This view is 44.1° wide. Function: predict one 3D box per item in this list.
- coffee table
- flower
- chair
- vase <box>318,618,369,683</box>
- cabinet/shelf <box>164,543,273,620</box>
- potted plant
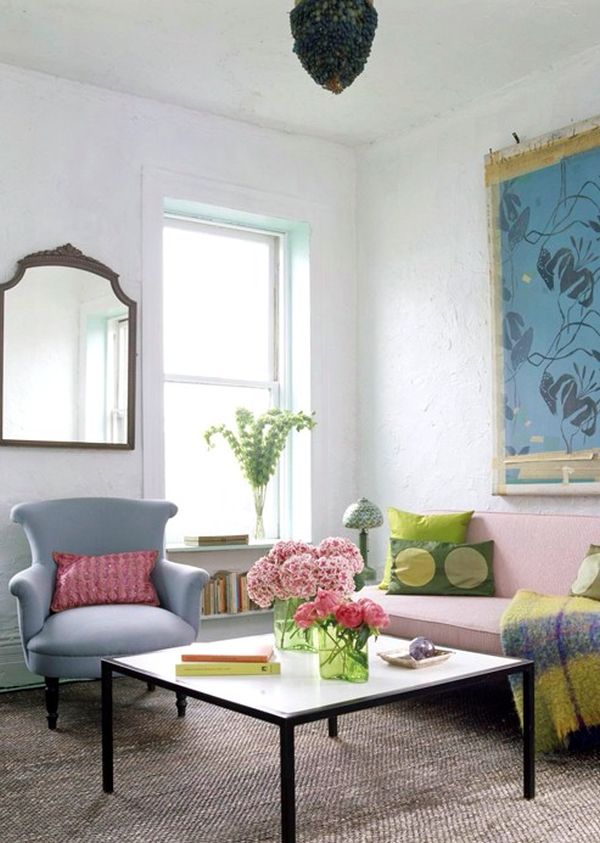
[{"bbox_3d":[0.000,0.816,1.998,0.890,0.377,0.895,7,-11,-42],"label":"coffee table"},{"bbox_3d":[0.051,0.455,1.879,0.360,0.233,0.321,-1,4,-9],"label":"flower"},{"bbox_3d":[-0.681,0.697,3.104,0.857,0.925,0.868,2,-10,-26],"label":"chair"},{"bbox_3d":[0.116,0.566,1.789,0.104,0.141,0.068,-2,-36,8],"label":"vase"},{"bbox_3d":[-0.388,0.971,4.319,0.294,0.359,0.553,4,-9,-25],"label":"cabinet/shelf"},{"bbox_3d":[-0.240,0.328,4.806,0.739,0.883,0.814,-1,0,-3],"label":"potted plant"}]
